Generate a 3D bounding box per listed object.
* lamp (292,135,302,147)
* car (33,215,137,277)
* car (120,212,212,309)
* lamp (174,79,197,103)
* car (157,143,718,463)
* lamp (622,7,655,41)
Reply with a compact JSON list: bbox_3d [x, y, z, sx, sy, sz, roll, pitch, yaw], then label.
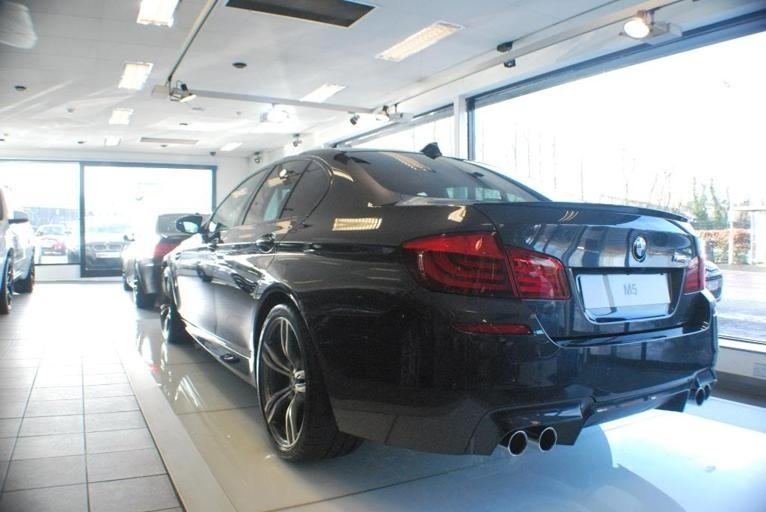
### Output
[{"bbox_3d":[-2.358,-3.181,13.376,0.097,0.248,0.214,-2,19,-44],"label":"lamp"},{"bbox_3d":[-10.017,-0.414,16.116,2.321,1.383,4.833,-1,6,-34],"label":"car"},{"bbox_3d":[-3.814,0.026,7.992,1.618,1.019,3.465,-1,5,-19],"label":"car"},{"bbox_3d":[-3.574,-2.997,8.735,0.298,0.261,0.260,-20,17,10],"label":"lamp"},{"bbox_3d":[-0.314,0.158,3.387,1.748,0.932,3.418,4,1,-34],"label":"car"},{"bbox_3d":[2.811,-2.532,5.287,0.337,0.281,0.194,-3,10,-26],"label":"lamp"}]
